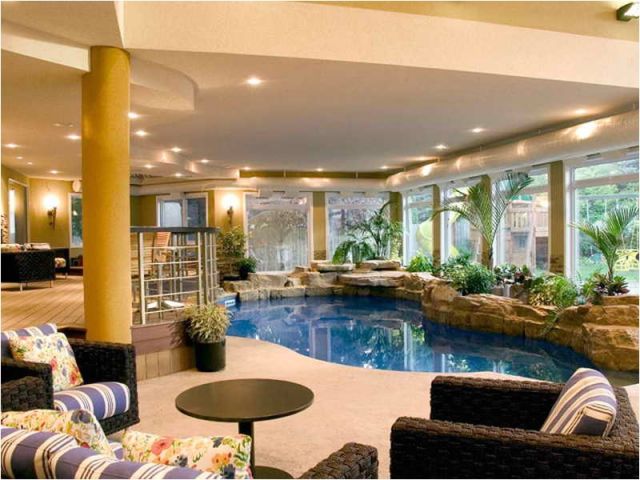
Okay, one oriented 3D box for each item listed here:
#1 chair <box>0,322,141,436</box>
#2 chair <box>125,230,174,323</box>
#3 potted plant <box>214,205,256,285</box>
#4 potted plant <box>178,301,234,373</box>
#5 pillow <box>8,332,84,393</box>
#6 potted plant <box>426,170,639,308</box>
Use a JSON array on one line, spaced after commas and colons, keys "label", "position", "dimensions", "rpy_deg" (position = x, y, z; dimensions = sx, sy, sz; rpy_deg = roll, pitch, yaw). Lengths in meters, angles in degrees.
[{"label": "chair", "position": [-1.900, 1.025, 3.330], "dimensions": [0.801, 0.621, 0.812], "rpy_deg": [-5, -8, 36]}, {"label": "chair", "position": [-2.295, 0.512, 6.032], "dimensions": [0.711, 1.180, 1.242], "rpy_deg": [-1, 1, -25]}, {"label": "potted plant", "position": [-2.580, 0.101, 13.785], "dimensions": [1.103, 1.929, 1.409], "rpy_deg": [2, 0, -26]}, {"label": "potted plant", "position": [-1.245, 1.234, 5.734], "dimensions": [0.796, 0.851, 0.752], "rpy_deg": [0, -1, -1]}, {"label": "pillow", "position": [-2.165, 0.941, 3.513], "dimensions": [0.153, 0.452, 0.502], "rpy_deg": [-32, -14, 26]}, {"label": "potted plant", "position": [4.692, 0.211, 8.817], "dimensions": [3.839, 2.136, 2.427], "rpy_deg": [1, 6, 43]}]
